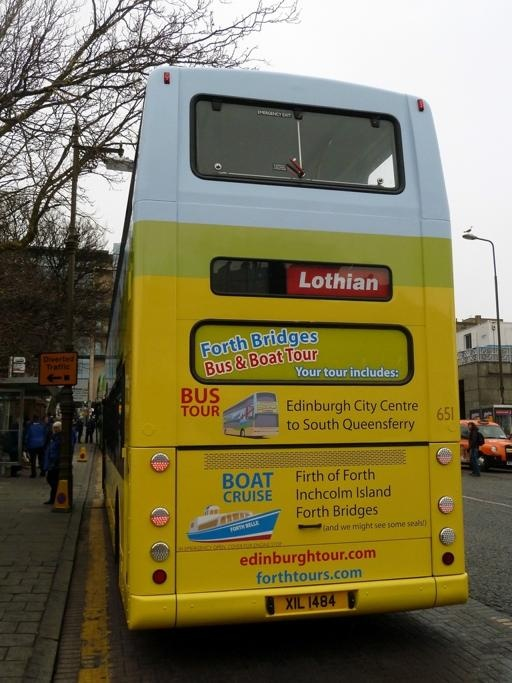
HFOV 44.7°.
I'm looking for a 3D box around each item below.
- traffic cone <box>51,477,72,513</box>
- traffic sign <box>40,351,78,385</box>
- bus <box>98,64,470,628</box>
[{"bbox_3d":[-3.517,2.812,11.418,0.450,0.606,0.455,-1,-11,0],"label":"traffic cone"},{"bbox_3d":[-3.895,0.532,12.336,0.619,0.600,0.082,-1,3,8],"label":"traffic sign"},{"bbox_3d":[-0.101,0.341,6.106,1.550,2.389,4.824,1,-4,-9],"label":"bus"}]
